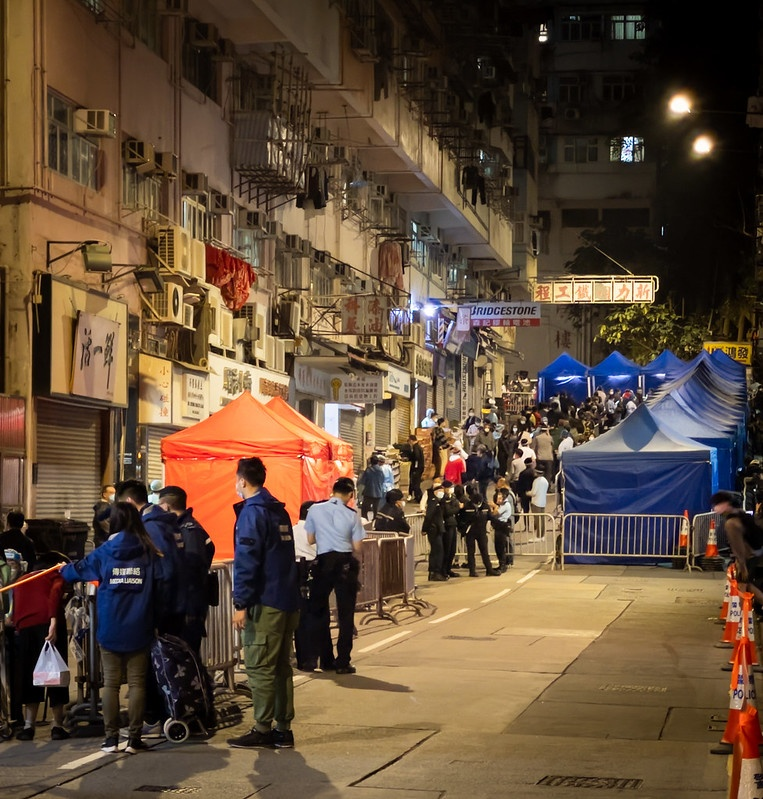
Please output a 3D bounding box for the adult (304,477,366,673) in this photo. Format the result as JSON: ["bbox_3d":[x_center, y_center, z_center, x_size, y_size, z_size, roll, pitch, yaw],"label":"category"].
[{"bbox_3d":[-0.439,1.640,13.310,0.537,1.823,0.639,-1,-5,-4],"label":"adult"}]

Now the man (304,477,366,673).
[{"bbox_3d":[-0.439,1.640,13.310,0.537,1.823,0.639,-1,-5,-5],"label":"man"}]

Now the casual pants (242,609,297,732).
[{"bbox_3d":[-0.789,1.919,10.141,0.306,0.903,0.451,-5,-6,32],"label":"casual pants"}]

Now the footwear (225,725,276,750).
[{"bbox_3d":[-0.929,2.401,10.124,0.349,0.167,0.133,4,-4,2],"label":"footwear"}]

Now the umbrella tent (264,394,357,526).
[{"bbox_3d":[-1.081,0.865,21.268,1.251,1.145,1.690,0,-3,7],"label":"umbrella tent"}]

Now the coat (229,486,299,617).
[{"bbox_3d":[-0.834,1.073,10.154,0.484,0.891,0.319,-1,-5,-15],"label":"coat"}]

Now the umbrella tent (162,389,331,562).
[{"bbox_3d":[-1.911,1.069,21.091,2.004,2.165,2.173,0,4,8],"label":"umbrella tent"}]

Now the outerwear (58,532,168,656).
[{"bbox_3d":[-1.905,1.414,10.130,0.777,1.267,0.515,-7,36,-15],"label":"outerwear"}]
